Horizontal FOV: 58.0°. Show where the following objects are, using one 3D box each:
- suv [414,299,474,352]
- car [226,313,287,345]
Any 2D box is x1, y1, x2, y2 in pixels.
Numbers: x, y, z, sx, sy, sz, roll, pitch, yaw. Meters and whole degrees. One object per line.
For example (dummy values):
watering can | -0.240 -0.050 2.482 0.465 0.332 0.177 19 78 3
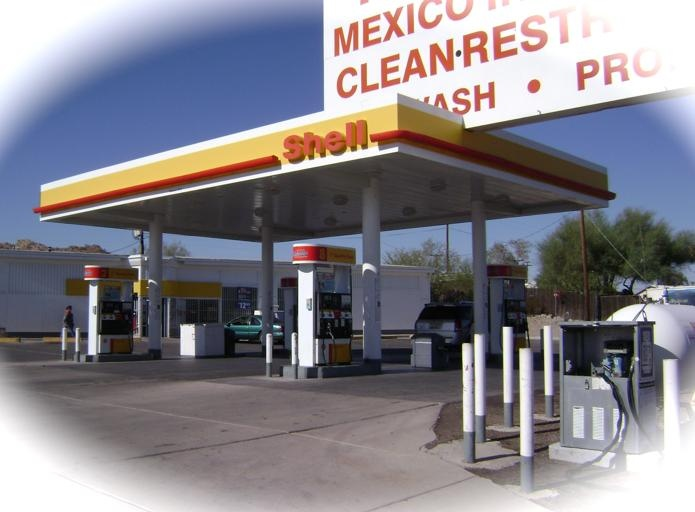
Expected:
suv | 3.156 2.368 21.544 1.266 1.211 2.205 -1 2 33
car | -4.860 3.836 32.454 3.287 1.149 1.533 2 -1 38
